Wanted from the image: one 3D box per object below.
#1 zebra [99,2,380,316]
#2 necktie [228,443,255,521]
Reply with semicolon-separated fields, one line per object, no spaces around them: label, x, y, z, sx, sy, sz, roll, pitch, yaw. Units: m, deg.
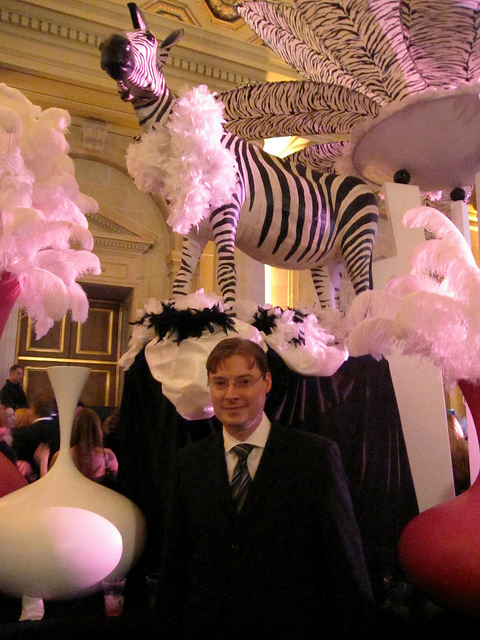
zebra;0.069;-0.475;1.647;1.173;0.934;0.381;3;-2;-37
necktie;-0.001;0.318;0.949;0.054;0.115;0.067;1;-2;6
